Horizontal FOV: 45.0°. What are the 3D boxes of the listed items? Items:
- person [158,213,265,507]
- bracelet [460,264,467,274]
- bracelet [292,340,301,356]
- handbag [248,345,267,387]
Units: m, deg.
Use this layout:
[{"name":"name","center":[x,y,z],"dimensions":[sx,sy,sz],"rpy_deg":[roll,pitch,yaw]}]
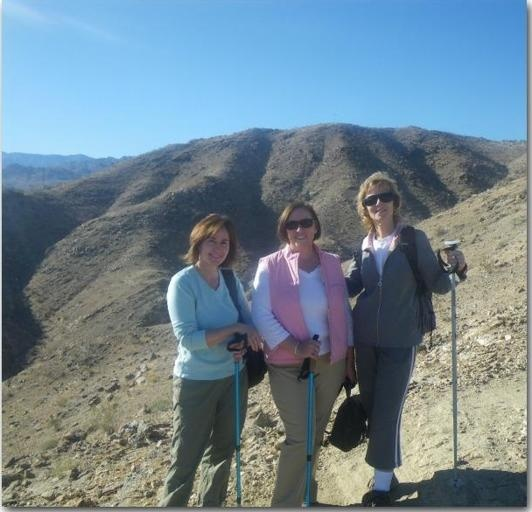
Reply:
[{"name":"person","center":[-0.661,1.169,7.148],"dimensions":[1.248,2.496,0.569],"rpy_deg":[-10,-4,-8]},{"name":"bracelet","center":[2.266,0.145,7.306],"dimensions":[0.068,0.110,0.101],"rpy_deg":[-5,3,5]},{"name":"bracelet","center":[0.335,0.987,6.981],"dimensions":[0.071,0.126,0.053],"rpy_deg":[-8,-5,-37]},{"name":"handbag","center":[-0.128,1.276,7.377],"dimensions":[0.249,0.360,0.373],"rpy_deg":[0,-9,-4]}]
